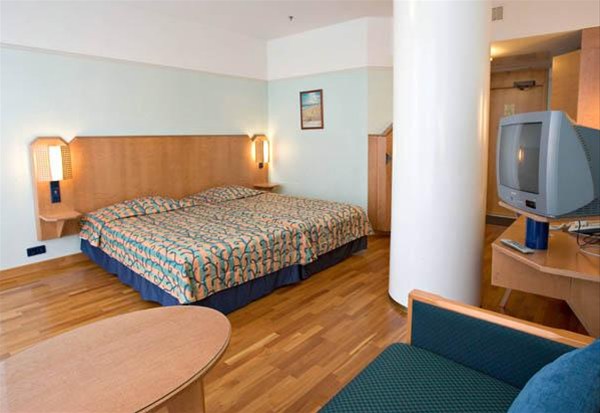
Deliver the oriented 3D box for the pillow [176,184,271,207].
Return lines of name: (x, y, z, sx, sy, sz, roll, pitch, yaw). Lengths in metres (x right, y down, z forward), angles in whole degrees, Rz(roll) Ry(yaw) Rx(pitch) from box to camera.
pillow: (-1.197, -0.180, 6.154, 0.761, 0.147, 0.437, -10, 14, -40)

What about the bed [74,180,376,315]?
bed: (-0.918, 0.322, 5.218, 2.457, 0.899, 2.683, 8, 17, 42)

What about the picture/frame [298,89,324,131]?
picture/frame: (0.198, -1.632, 6.672, 0.636, 0.755, 0.056, 9, 18, 37)

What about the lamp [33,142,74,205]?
lamp: (-2.952, -0.425, 4.884, 0.387, 0.761, 0.105, -12, 15, -33)

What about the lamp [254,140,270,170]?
lamp: (-0.664, -0.952, 7.172, 0.119, 0.528, 0.430, 5, 15, 32)
